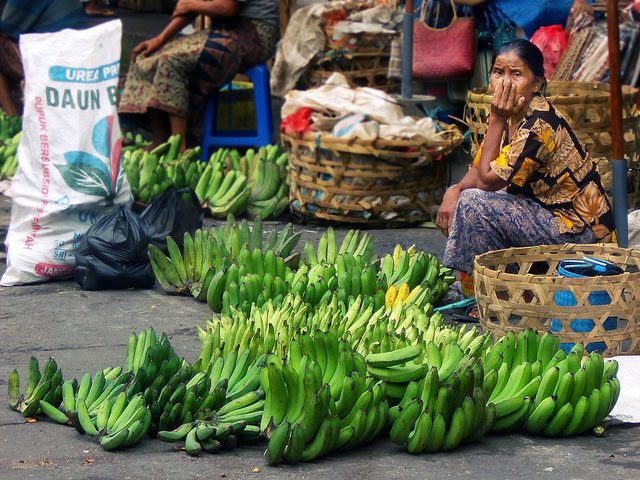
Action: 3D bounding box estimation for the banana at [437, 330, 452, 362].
[{"bbox_3d":[0.586,0.481,3.778,0.039,0.166,0.056,4,-38,34],"label":"banana"}]

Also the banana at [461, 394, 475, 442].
[{"bbox_3d":[0.627,0.740,3.400,0.056,0.189,0.046,12,14,39],"label":"banana"}]

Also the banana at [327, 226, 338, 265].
[{"bbox_3d":[0.088,0.030,5.146,0.055,0.243,0.074,-11,10,-41],"label":"banana"}]

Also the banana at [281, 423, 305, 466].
[{"bbox_3d":[-0.124,0.813,3.308,0.112,0.245,0.081,2,39,1],"label":"banana"}]

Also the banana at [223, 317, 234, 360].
[{"bbox_3d":[-0.439,0.472,3.929,0.029,0.173,0.055,13,-4,-18],"label":"banana"}]

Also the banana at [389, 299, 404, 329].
[{"bbox_3d":[0.398,0.368,4.128,0.037,0.163,0.056,38,-37,-17],"label":"banana"}]

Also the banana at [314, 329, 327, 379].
[{"bbox_3d":[0.015,0.490,3.574,0.039,0.237,0.077,1,14,19],"label":"banana"}]

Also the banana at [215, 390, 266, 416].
[{"bbox_3d":[-0.344,0.709,3.526,0.213,0.063,0.038,-16,37,-18],"label":"banana"}]

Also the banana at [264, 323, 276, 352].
[{"bbox_3d":[-0.237,0.459,3.840,0.033,0.137,0.045,5,1,-14],"label":"banana"}]

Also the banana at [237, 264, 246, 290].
[{"bbox_3d":[-0.446,0.211,4.672,0.032,0.133,0.042,8,-3,34],"label":"banana"}]

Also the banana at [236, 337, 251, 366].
[{"bbox_3d":[-0.353,0.505,3.774,0.034,0.149,0.050,25,-4,-11],"label":"banana"}]

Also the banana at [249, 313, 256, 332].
[{"bbox_3d":[-0.328,0.404,4.002,0.024,0.040,0.109,2,41,-12],"label":"banana"}]

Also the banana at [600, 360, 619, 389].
[{"bbox_3d":[1.329,0.580,3.684,0.047,0.072,0.194,17,36,17],"label":"banana"}]

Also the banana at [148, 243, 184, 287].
[{"bbox_3d":[-0.954,0.156,5.023,0.083,0.263,0.067,-37,4,34],"label":"banana"}]

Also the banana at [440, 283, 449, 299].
[{"bbox_3d":[0.773,0.296,4.968,0.045,0.129,0.030,8,19,30],"label":"banana"}]

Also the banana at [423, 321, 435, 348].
[{"bbox_3d":[0.524,0.448,3.865,0.030,0.039,0.114,18,51,9],"label":"banana"}]

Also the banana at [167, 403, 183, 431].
[{"bbox_3d":[-0.615,0.757,3.488,0.037,0.161,0.051,18,13,3],"label":"banana"}]

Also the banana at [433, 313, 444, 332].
[{"bbox_3d":[0.597,0.402,4.056,0.029,0.112,0.042,38,-35,-12],"label":"banana"}]

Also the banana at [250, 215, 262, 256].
[{"bbox_3d":[-0.398,-0.036,5.141,0.060,0.238,0.075,3,19,-15],"label":"banana"}]

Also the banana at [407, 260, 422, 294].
[{"bbox_3d":[0.569,0.209,4.801,0.047,0.244,0.080,18,19,20],"label":"banana"}]

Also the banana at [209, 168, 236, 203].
[{"bbox_3d":[-0.814,-0.450,6.790,0.107,0.323,0.067,39,-17,8],"label":"banana"}]

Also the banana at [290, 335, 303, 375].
[{"bbox_3d":[-0.101,0.495,3.523,0.038,0.161,0.050,-2,7,17],"label":"banana"}]

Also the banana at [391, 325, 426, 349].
[{"bbox_3d":[0.423,0.452,3.794,0.067,0.153,0.226,10,11,26],"label":"banana"}]

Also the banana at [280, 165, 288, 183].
[{"bbox_3d":[-0.315,-0.591,7.130,0.047,0.189,0.060,-1,8,-2],"label":"banana"}]

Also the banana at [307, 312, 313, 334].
[{"bbox_3d":[-0.045,0.393,3.935,0.017,0.083,0.029,1,-11,-5],"label":"banana"}]

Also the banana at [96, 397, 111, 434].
[{"bbox_3d":[-0.915,0.738,3.429,0.051,0.153,0.036,-16,-43,32],"label":"banana"}]

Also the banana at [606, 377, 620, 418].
[{"bbox_3d":[1.301,0.691,3.596,0.049,0.154,0.033,17,23,18],"label":"banana"}]

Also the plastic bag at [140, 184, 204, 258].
[{"bbox_3d":[-0.941,-0.144,5.255,0.418,0.452,0.164,13,2,-14],"label":"plastic bag"}]

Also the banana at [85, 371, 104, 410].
[{"bbox_3d":[-0.985,0.654,3.565,0.034,0.178,0.061,-18,-49,44],"label":"banana"}]

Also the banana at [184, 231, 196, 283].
[{"bbox_3d":[-0.804,0.105,5.026,0.071,0.303,0.095,-2,3,14],"label":"banana"}]

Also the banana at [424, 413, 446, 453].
[{"bbox_3d":[0.491,0.812,3.379,0.052,0.205,0.064,5,13,-29],"label":"banana"}]

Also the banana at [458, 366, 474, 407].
[{"bbox_3d":[0.623,0.617,3.426,0.039,0.161,0.053,-2,8,-9],"label":"banana"}]

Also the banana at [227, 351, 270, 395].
[{"bbox_3d":[-0.321,0.597,3.622,0.079,0.228,0.038,51,-6,2],"label":"banana"}]

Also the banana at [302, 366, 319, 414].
[{"bbox_3d":[-0.033,0.605,3.363,0.045,0.218,0.075,1,-19,2],"label":"banana"}]

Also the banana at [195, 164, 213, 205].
[{"bbox_3d":[-0.962,-0.453,6.739,0.083,0.431,0.143,17,-33,-4],"label":"banana"}]

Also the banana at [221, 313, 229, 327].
[{"bbox_3d":[-0.496,0.410,4.200,0.033,0.046,0.126,-13,8,-7],"label":"banana"}]

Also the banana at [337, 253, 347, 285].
[{"bbox_3d":[0.129,0.162,4.747,0.034,0.170,0.048,1,-11,-30],"label":"banana"}]

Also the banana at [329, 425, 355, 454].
[{"bbox_3d":[0.096,0.820,3.373,0.061,0.176,0.042,18,38,-15],"label":"banana"}]

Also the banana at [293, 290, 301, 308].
[{"bbox_3d":[-0.109,0.304,4.200,0.018,0.074,0.026,-23,-59,43],"label":"banana"}]

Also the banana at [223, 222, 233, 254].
[{"bbox_3d":[-0.583,-0.022,5.169,0.054,0.225,0.071,3,1,34],"label":"banana"}]

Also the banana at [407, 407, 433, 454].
[{"bbox_3d":[0.421,0.807,3.372,0.064,0.215,0.102,14,21,-13],"label":"banana"}]

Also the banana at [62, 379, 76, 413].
[{"bbox_3d":[-1.098,0.678,3.542,0.043,0.175,0.057,-3,-26,-10],"label":"banana"}]

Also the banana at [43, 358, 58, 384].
[{"bbox_3d":[-1.202,0.566,3.618,0.036,0.146,0.046,13,10,-31],"label":"banana"}]

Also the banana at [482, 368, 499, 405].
[{"bbox_3d":[0.752,0.624,3.554,0.043,0.207,0.070,15,10,23],"label":"banana"}]

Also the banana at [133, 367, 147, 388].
[{"bbox_3d":[-0.783,0.601,3.555,0.064,0.093,0.021,-2,6,-37],"label":"banana"}]

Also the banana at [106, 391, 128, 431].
[{"bbox_3d":[-0.856,0.718,3.426,0.046,0.181,0.057,27,-15,-18],"label":"banana"}]

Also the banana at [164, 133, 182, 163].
[{"bbox_3d":[-1.317,-0.811,7.315,0.082,0.333,0.106,19,-4,-17],"label":"banana"}]

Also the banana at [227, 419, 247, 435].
[{"bbox_3d":[-0.339,0.786,3.410,0.036,0.029,0.101,2,-28,-31],"label":"banana"}]

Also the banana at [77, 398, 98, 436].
[{"bbox_3d":[-0.990,0.755,3.445,0.031,0.139,0.048,-35,-15,36],"label":"banana"}]

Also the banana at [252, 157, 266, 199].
[{"bbox_3d":[-0.506,-0.554,6.945,0.128,0.413,0.081,6,-1,44],"label":"banana"}]

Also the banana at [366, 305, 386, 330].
[{"bbox_3d":[0.278,0.383,3.995,0.020,0.099,0.034,37,-9,-2],"label":"banana"}]

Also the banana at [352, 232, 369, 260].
[{"bbox_3d":[0.263,0.040,5.170,0.064,0.195,0.033,28,10,13],"label":"banana"}]

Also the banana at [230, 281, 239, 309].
[{"bbox_3d":[-0.459,0.299,4.451,0.042,0.129,0.062,5,6,36],"label":"banana"}]

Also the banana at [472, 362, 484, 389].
[{"bbox_3d":[0.678,0.572,3.449,0.032,0.145,0.045,-16,14,-35],"label":"banana"}]

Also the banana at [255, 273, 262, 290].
[{"bbox_3d":[-0.346,0.223,4.618,0.019,0.076,0.026,10,31,41],"label":"banana"}]

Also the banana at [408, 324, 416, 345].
[{"bbox_3d":[0.444,0.450,3.842,0.029,0.085,0.020,35,-22,-34],"label":"banana"}]

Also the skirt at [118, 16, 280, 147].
[{"bbox_3d":[-1.164,-1.536,7.522,1.344,1.356,0.931,13,19,-27],"label":"skirt"}]
